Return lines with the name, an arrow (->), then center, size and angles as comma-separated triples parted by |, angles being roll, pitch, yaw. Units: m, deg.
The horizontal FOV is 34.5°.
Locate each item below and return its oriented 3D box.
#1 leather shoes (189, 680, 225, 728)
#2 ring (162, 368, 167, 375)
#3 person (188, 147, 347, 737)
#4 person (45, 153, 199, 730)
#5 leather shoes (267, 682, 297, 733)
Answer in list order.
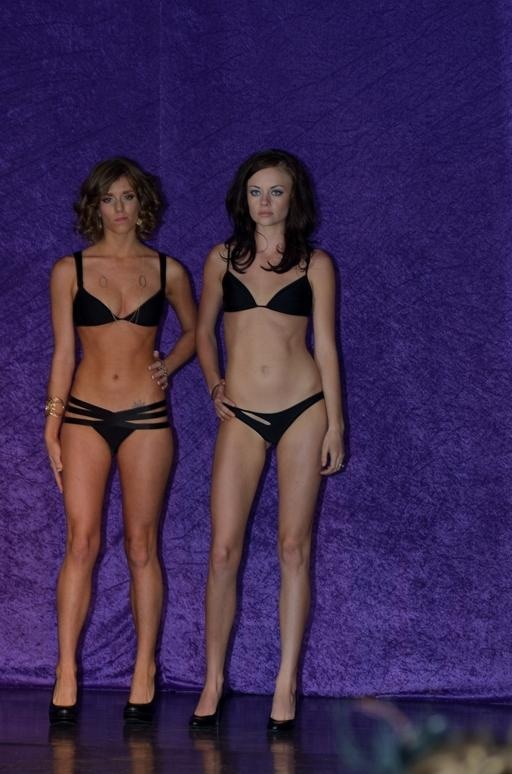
leather shoes -> -0.147, 0.937, 2.396 | 0.054, 0.148, 0.072 | 7, -1, 43
ring -> -0.286, -0.050, 2.573 | 0.008, 0.019, 0.015 | -21, -1, 29
person -> 0.024, 0.126, 2.455 | 0.470, 1.672, 0.486 | 4, 7, 1
person -> -0.418, 0.120, 2.568 | 0.468, 1.671, 0.566 | 3, 8, -13
leather shoes -> 0.075, 0.924, 2.312 | 0.055, 0.057, 0.157 | -1, -10, 7
